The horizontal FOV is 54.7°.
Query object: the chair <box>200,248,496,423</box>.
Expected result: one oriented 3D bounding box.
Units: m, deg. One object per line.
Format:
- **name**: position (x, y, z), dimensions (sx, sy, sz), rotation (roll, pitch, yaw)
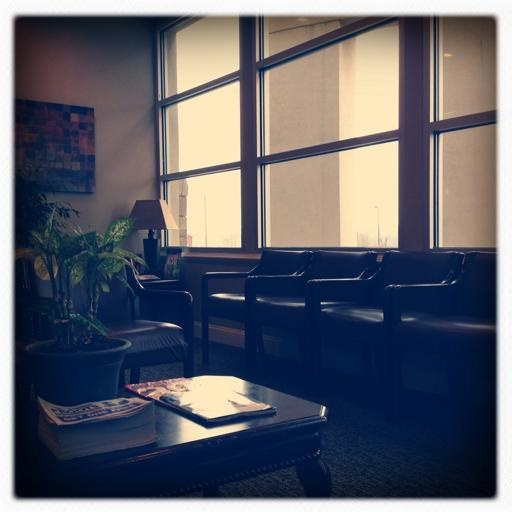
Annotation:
- **chair**: position (0.612, 0.372, 2.707), dimensions (0.627, 0.793, 1.491), rotation (-3, 3, -44)
